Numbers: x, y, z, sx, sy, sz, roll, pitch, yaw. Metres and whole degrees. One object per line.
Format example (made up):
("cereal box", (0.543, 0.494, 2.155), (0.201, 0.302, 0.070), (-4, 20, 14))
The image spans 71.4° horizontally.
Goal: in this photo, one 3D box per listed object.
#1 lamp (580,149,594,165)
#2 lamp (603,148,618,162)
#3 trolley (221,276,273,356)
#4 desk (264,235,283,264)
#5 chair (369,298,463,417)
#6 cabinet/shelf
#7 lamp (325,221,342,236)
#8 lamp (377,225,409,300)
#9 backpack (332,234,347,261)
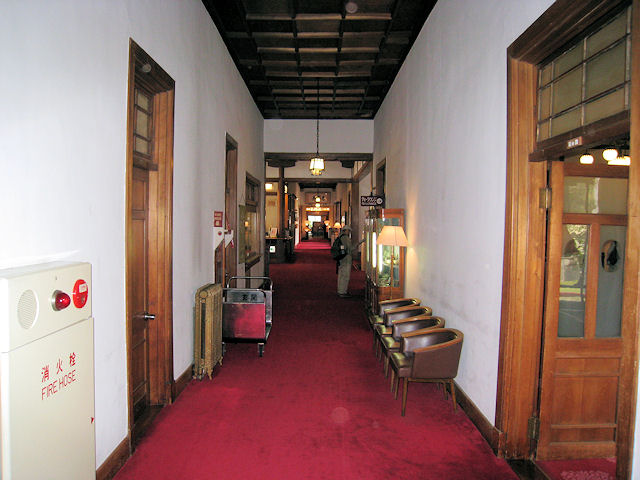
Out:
("lamp", (2.400, -0.763, 4.028), (0.194, 0.102, 0.086), (-5, 9, -40))
("lamp", (2.654, -0.788, 4.100), (0.115, 0.137, 0.069), (5, 2, -10))
("trolley", (-0.990, 0.924, 6.004), (0.572, 0.763, 1.090), (0, -4, -1))
("desk", (-1.582, 0.302, 16.064), (0.611, 0.874, 0.681), (1, 7, -2))
("chair", (1.071, 1.227, 4.867), (0.704, 0.781, 1.271), (1, 7, -2))
("cabinet/shelf", (0.992, 0.311, 6.711), (0.439, 2.090, 1.682), (1, -1, -1))
("lamp", (0.812, -0.621, 24.013), (0.434, 0.667, 1.683), (0, -2, -5))
("lamp", (1.044, 0.340, 6.475), (0.425, 1.103, 0.548), (2, 7, 11))
("backpack", (0.382, 0.184, 9.318), (0.287, 0.607, 0.465), (-2, 7, -20))
